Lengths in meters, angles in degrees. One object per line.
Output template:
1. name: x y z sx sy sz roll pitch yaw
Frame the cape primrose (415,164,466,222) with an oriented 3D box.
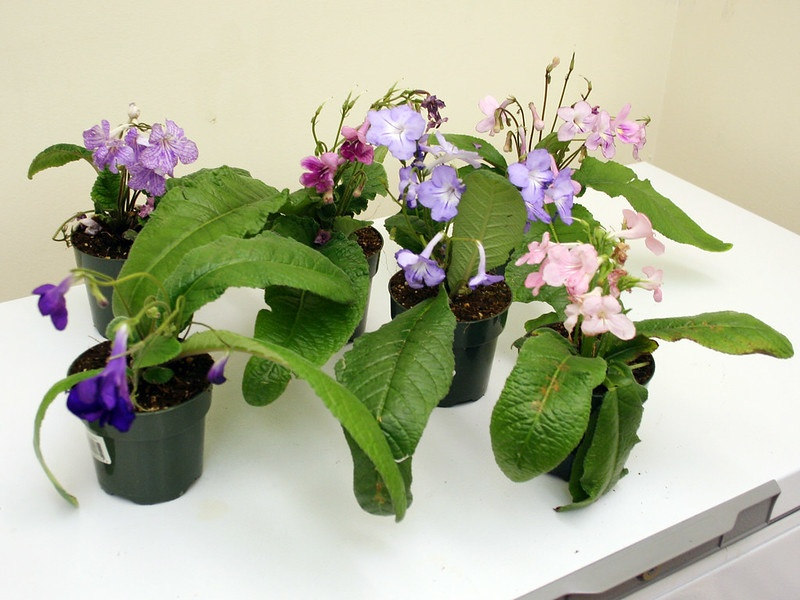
1. cape primrose: 0.066 -0.176 1.044 0.076 0.088 0.040 6 25 -8

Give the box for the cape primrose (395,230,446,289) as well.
1. cape primrose: 0.028 -0.066 1.043 0.068 0.062 0.096 25 58 15

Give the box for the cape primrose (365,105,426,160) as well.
1. cape primrose: -0.005 -0.267 1.037 0.110 0.088 0.091 1 27 -19

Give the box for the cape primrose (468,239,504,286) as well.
1. cape primrose: 0.122 -0.051 1.023 0.043 0.060 0.051 -9 1 7

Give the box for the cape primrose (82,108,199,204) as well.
1. cape primrose: -0.467 -0.266 1.269 0.188 0.177 0.188 11 34 16

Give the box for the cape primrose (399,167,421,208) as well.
1. cape primrose: 0.011 -0.195 1.131 0.027 0.062 0.057 2 -10 -33

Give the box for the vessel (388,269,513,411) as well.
1. vessel: 0.091 0.066 1.288 0.205 0.201 0.230 -9 29 -12

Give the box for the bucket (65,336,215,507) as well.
1. bucket: -0.434 0.191 1.116 0.229 0.223 0.260 -10 39 -21

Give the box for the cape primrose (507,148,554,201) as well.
1. cape primrose: 0.211 -0.197 1.044 0.073 0.089 0.035 4 9 -24

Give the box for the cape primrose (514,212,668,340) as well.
1. cape primrose: 0.309 -0.082 0.994 0.168 0.109 0.229 23 40 21
